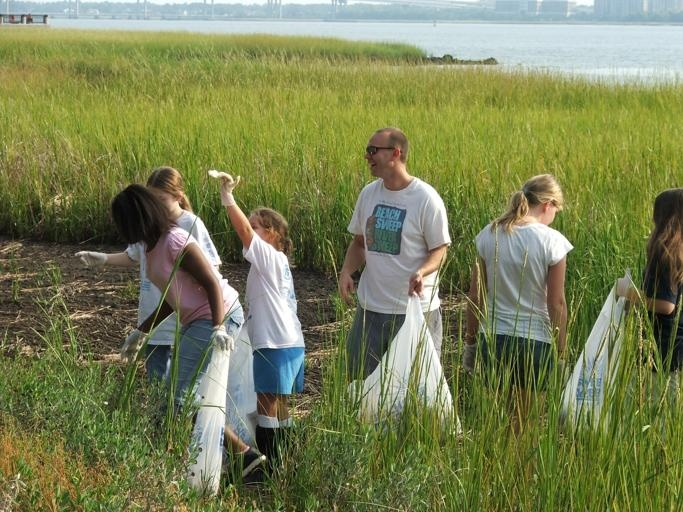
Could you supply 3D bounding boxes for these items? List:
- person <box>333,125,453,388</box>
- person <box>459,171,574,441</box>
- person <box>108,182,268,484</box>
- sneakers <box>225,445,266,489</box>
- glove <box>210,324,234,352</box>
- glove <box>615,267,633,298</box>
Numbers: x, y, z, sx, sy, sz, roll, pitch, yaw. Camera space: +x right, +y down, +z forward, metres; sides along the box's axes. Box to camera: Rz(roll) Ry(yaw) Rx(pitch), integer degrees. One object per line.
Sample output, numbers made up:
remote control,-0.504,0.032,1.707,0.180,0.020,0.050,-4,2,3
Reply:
person,0.393,0.339,6.789,0.755,2.650,0.808,7,21,17
person,1.157,0.337,5.943,0.718,1.598,1.454,5,15,15
person,-1.015,0.489,5.849,0.993,1.900,0.847,5,14,16
sneakers,-0.638,1.399,5.890,0.150,0.243,0.484,3,4,30
glove,-0.752,0.502,5.613,0.105,0.180,0.051,-1,-25,-11
glove,1.902,0.172,5.963,0.114,0.249,0.215,4,14,21
